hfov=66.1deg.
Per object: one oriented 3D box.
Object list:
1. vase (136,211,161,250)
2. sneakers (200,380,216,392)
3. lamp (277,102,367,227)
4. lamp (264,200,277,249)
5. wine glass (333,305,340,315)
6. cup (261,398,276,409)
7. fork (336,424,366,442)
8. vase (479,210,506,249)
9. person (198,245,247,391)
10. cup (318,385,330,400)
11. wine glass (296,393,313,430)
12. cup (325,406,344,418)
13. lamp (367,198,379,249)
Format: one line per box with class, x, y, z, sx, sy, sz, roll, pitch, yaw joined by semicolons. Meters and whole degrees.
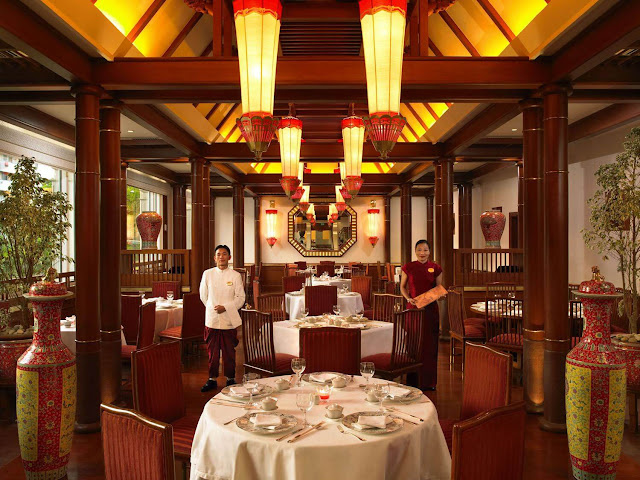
vase;-3.565;-0.185;10.264;0.500;0.831;0.512;-1;2;-33
sneakers;-1.411;1.868;6.280;0.217;0.173;0.093;10;-9;-19
lamp;-0.028;-0.907;6.362;1.198;1.518;1.277;0;-1;1
lamp;-1.669;-0.504;16.871;0.548;1.579;0.585;-3;-11;12
wine glass;0.216;0.944;6.579;0.108;0.192;0.116;0;-3;-2
cup;-0.374;1.199;3.595;0.062;0.059;0.087;-1;-14;-9
fork;0.209;1.291;3.269;0.023;0.027;0.171;0;14;-32
vase;3.405;-0.200;9.733;0.402;0.774;0.440;-2;-5;26
person;-1.260;0.993;6.303;0.547;1.844;0.729;1;-5;-14
cup;0.027;1.157;3.750;0.097;0.119;0.103;0;-7;0
wine glass;-0.104;1.205;3.504;0.116;0.252;0.118;-3;1;-20
cup;0.105;1.218;3.472;0.080;0.060;0.088;1;-13;-10
lamp;1.841;-0.516;16.790;0.459;1.505;0.948;0;-5;6
